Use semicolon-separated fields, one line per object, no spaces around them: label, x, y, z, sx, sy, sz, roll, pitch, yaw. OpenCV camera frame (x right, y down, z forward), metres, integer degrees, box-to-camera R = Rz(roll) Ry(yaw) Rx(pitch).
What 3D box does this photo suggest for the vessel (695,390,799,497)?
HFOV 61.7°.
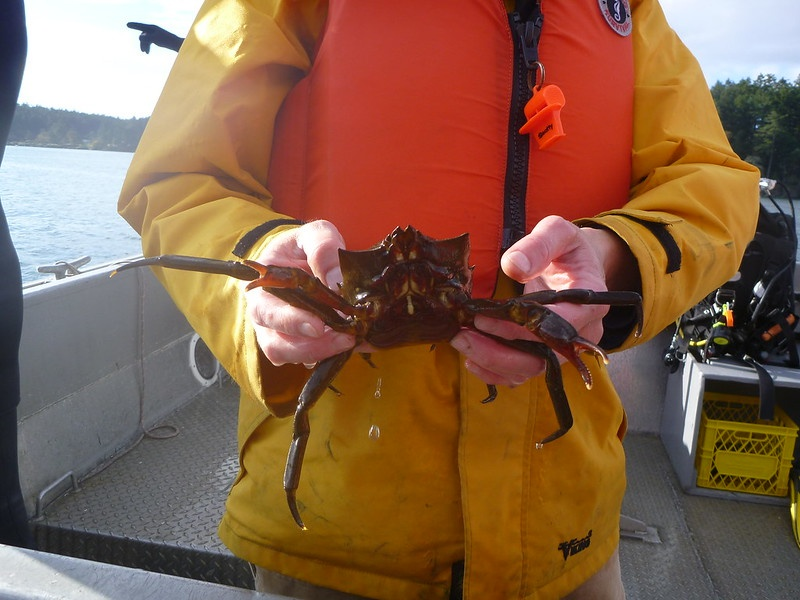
vessel;2.195;0.812;4.357;0.577;0.422;0.620;6;15;14
